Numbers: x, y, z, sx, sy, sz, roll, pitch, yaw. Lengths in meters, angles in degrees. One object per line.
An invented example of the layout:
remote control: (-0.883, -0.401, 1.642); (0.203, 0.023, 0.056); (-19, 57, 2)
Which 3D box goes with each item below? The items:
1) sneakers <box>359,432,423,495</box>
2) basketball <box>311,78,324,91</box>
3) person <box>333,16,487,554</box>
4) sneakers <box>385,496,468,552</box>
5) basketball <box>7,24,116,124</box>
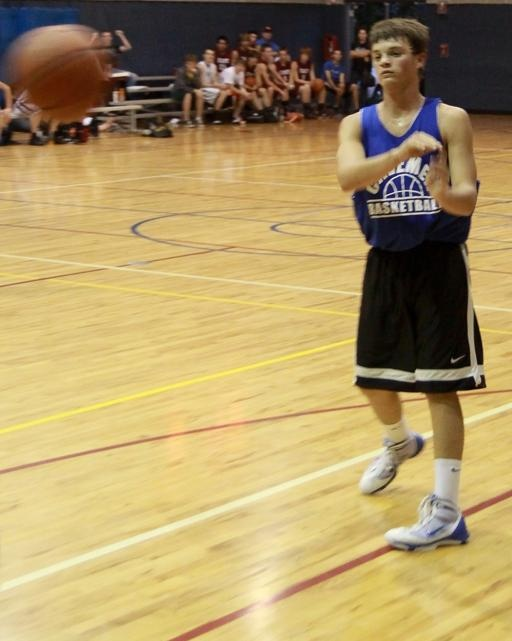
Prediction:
sneakers: (0.417, 0.437, 1.749); (0.211, 0.092, 0.074); (-41, 40, -7)
basketball: (1.932, -7.305, 17.938); (0.385, 0.380, 0.192); (-1, 2, 2)
person: (0.404, -0.118, 1.411); (0.391, 1.305, 0.605); (-1, 2, 9)
sneakers: (0.430, 0.484, 1.373); (0.204, 0.106, 0.071); (-19, -24, 35)
basketball: (-0.390, -0.498, 1.140); (0.187, 0.228, 0.142); (-1, 2, -18)
